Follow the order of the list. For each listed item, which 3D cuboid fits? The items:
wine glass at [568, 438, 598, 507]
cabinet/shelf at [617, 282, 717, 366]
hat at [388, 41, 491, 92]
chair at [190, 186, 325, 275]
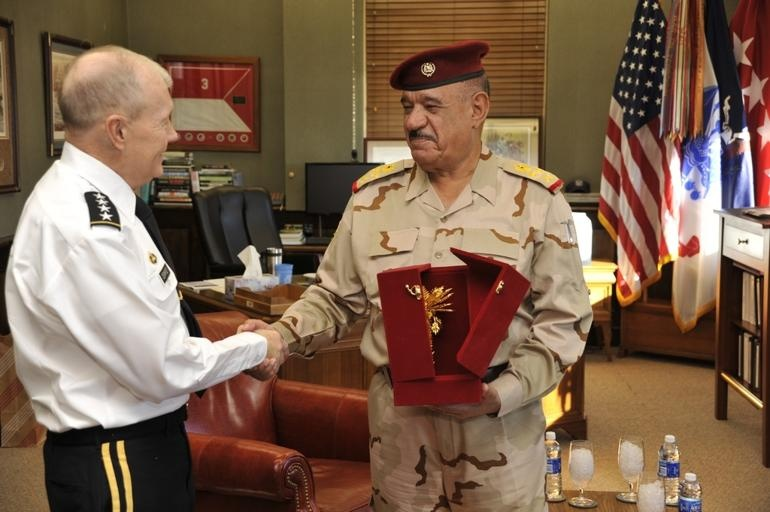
[{"bbox_3d":[0.869,0.953,2.897,0.107,0.276,0.092,1,16,5],"label":"wine glass"},{"bbox_3d":[2.362,0.646,5.540,0.824,0.480,0.471,1,1,34],"label":"cabinet/shelf"},{"bbox_3d":[0.182,-0.634,2.212,0.337,0.166,0.136,-3,10,-3],"label":"hat"},{"bbox_3d":[-1.127,-0.087,5.537,1.159,0.890,0.776,4,24,2],"label":"chair"}]
